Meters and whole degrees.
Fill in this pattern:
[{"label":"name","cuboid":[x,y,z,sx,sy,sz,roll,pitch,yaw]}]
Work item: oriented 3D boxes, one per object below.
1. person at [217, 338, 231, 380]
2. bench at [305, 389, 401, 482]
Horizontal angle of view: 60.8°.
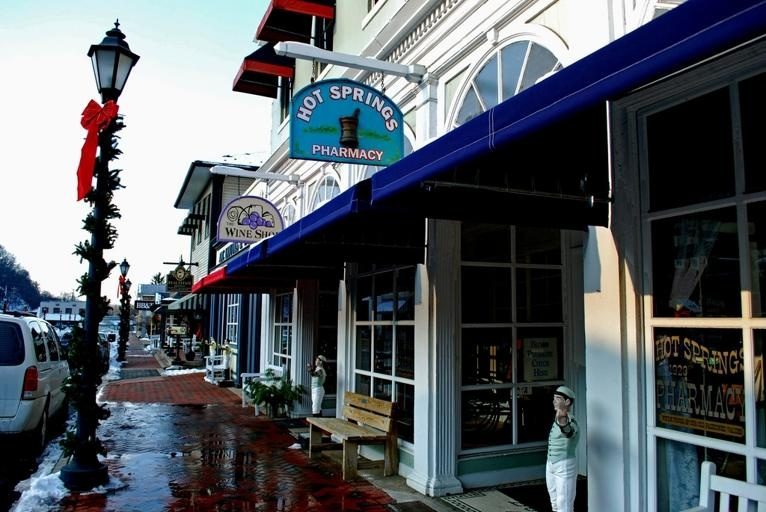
[{"label":"person","cuboid":[-5.531,3.651,22.851,0.455,1.445,1.017,6,-12,-27]},{"label":"bench","cuboid":[-0.505,2.725,10.201,1.099,1.069,1.870,3,-6,-17]}]
